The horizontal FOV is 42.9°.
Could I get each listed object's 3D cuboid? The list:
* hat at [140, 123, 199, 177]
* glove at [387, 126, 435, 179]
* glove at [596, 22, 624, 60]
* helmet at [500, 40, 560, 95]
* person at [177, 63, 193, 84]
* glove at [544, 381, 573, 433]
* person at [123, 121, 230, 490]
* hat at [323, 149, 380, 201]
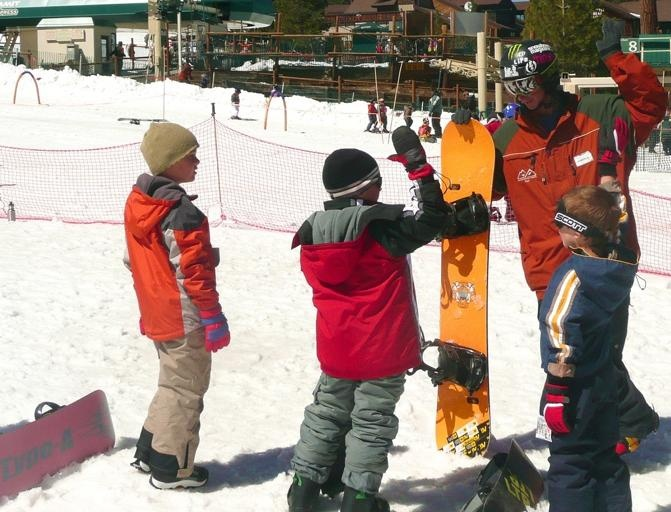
[{"bbox_3d":[-1.098,-0.717,5.592,0.396,0.321,0.290,-10,17,-8],"label":"hat"},{"bbox_3d":[0.464,-0.614,5.227,0.271,0.327,0.132,-23,11,19],"label":"glove"},{"bbox_3d":[1.834,-1.444,5.663,0.162,0.272,0.293,6,10,16],"label":"glove"},{"bbox_3d":[1.250,-1.230,5.696,0.417,0.328,0.313,-35,25,-26],"label":"helmet"},{"bbox_3d":[-5.815,-7.000,32.628,0.473,0.733,1.209,1,9,-12],"label":"person"},{"bbox_3d":[1.287,0.851,4.871,0.160,0.303,0.089,5,9,14],"label":"glove"},{"bbox_3d":[-1.054,0.503,5.521,0.715,2.022,0.389,3,9,0],"label":"person"},{"bbox_3d":[0.086,-0.535,5.239,0.347,0.275,0.265,-43,29,-23],"label":"hat"}]
